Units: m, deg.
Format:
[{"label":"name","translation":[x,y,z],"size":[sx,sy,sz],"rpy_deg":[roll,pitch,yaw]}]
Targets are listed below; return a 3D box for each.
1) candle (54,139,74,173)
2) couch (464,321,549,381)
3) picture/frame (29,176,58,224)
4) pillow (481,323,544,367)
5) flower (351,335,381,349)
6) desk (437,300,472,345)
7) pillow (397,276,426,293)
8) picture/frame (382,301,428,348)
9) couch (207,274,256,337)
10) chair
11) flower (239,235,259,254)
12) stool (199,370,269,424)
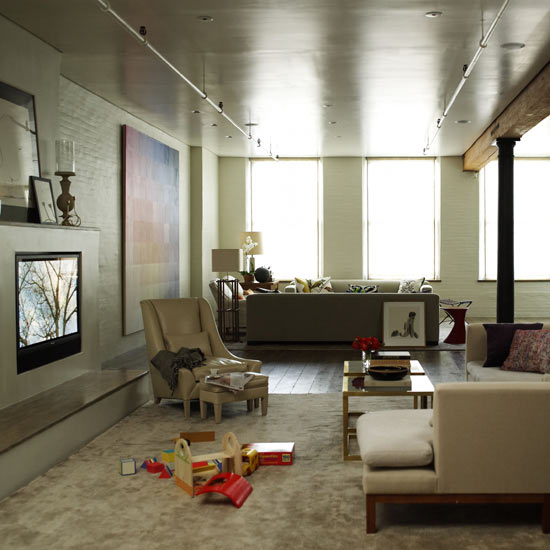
[{"label":"candle","translation":[-2.044,-1.138,4.821],"size":[0.163,0.342,0.118],"rpy_deg":[-2,1,-20]},{"label":"couch","translation":[1.845,0.502,4.027],"size":[0.541,0.469,0.593],"rpy_deg":[-2,0,20]},{"label":"picture/frame","translation":[-2.071,-0.691,4.585],"size":[0.545,0.470,0.040],"rpy_deg":[7,19,42]},{"label":"pillow","translation":[1.911,0.556,3.976],"size":[0.299,0.217,0.111],"rpy_deg":[-4,-32,22]},{"label":"flower","translation":[0.730,0.540,3.991],"size":[0.130,0.093,0.138],"rpy_deg":[-1,-1,36]},{"label":"desk","translation":[2.816,0.747,8.018],"size":[0.406,0.537,0.469],"rpy_deg":[8,-6,37]},{"label":"pillow","translation":[2.679,0.169,9.731],"size":[0.473,0.187,0.747],"rpy_deg":[-2,0,22]},{"label":"picture/frame","translation":[1.987,0.765,7.631],"size":[0.654,0.750,0.031],"rpy_deg":[0,-5,3]},{"label":"couch","translation":[-0.813,0.614,8.755],"size":[0.862,1.535,1.126],"rpy_deg":[0,4,0]},{"label":"chair","translation":[-0.736,0.715,4.638],"size":[0.794,1.032,0.953],"rpy_deg":[0,-2,-36]},{"label":"flower","translation":[-0.532,-0.612,10.514],"size":[0.367,0.490,0.352],"rpy_deg":[1,-6,12]},{"label":"stool","translation":[-0.373,0.873,4.140],"size":[0.568,0.393,0.362],"rpy_deg":[2,-6,-43]}]
